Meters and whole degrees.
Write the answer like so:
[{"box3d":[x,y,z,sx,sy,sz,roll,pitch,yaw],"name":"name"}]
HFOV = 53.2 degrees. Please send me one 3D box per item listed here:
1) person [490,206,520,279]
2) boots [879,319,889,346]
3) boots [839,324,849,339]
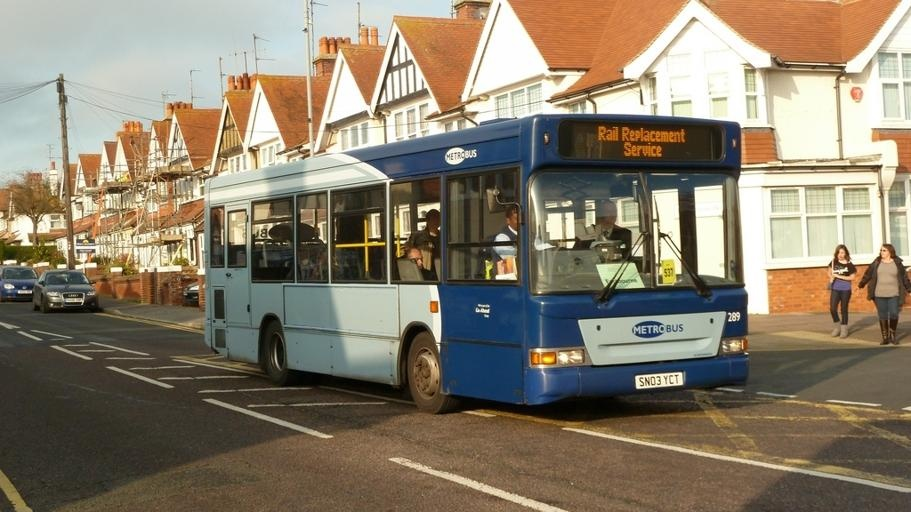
[{"box3d":[0.934,-0.251,17.456,0.615,1.403,0.143,4,9,38],"name":"person"},{"box3d":[11.795,2.056,24.952,0.234,0.636,0.446,2,8,25],"name":"boots"},{"box3d":[11.265,2.107,26.340,0.232,0.371,0.815,2,8,25],"name":"boots"}]
